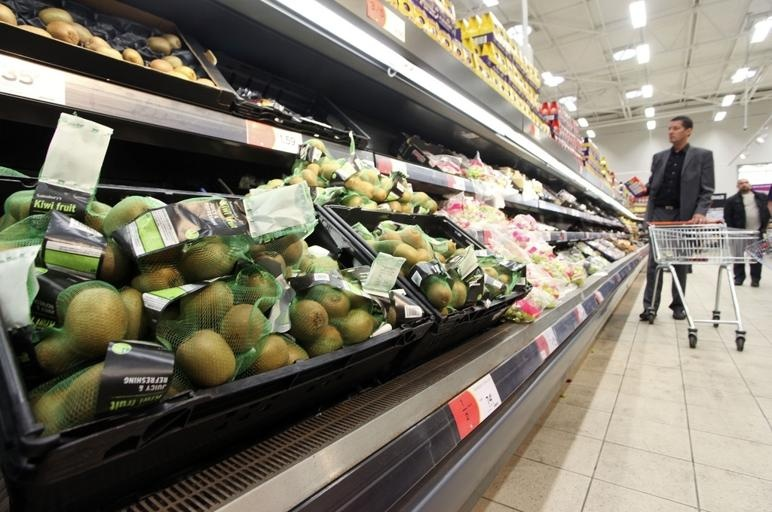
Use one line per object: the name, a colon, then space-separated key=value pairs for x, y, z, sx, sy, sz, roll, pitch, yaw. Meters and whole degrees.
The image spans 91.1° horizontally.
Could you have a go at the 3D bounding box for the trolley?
trolley: x=3.005 y=0.191 z=3.676 sx=0.777 sy=1.041 sz=1.923 roll=5 pitch=8 yaw=37
